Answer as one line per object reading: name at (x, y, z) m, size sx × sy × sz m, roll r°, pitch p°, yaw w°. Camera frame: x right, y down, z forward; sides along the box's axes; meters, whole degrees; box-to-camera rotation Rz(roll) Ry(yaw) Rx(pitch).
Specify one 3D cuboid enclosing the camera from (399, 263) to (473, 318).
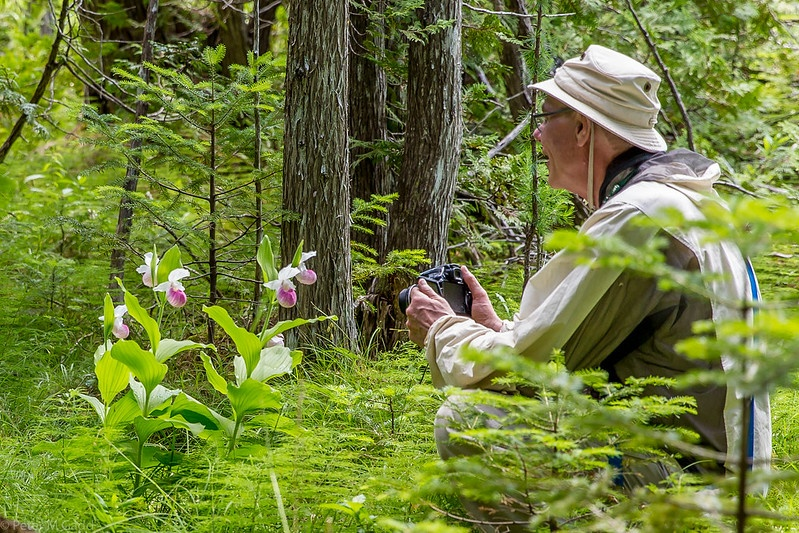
camera at (0.234, 0.128, 6.348) m, size 0.353 × 0.242 × 0.416 m, roll 5°, pitch -2°, yaw 43°

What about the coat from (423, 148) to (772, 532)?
coat at (1.320, 0.375, 6.715) m, size 2.263 × 2.388 × 2.085 m, roll 4°, pitch -2°, yaw 27°

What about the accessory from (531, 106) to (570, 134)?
accessory at (0.969, -0.923, 6.293) m, size 0.335 × 0.092 × 0.321 m, roll -11°, pitch 8°, yaw 5°
